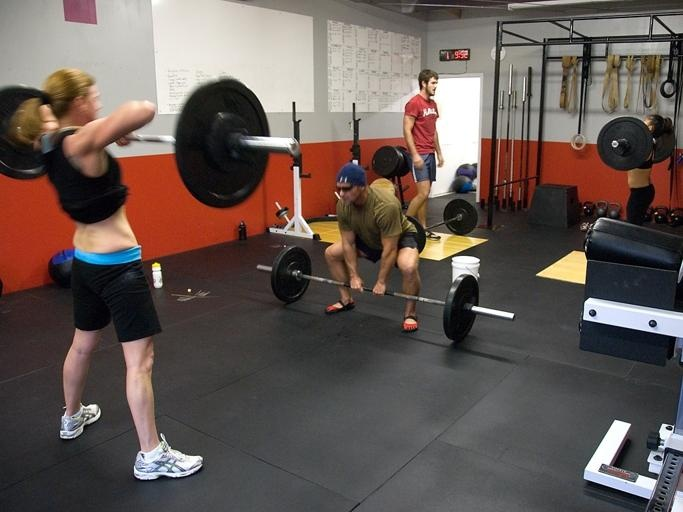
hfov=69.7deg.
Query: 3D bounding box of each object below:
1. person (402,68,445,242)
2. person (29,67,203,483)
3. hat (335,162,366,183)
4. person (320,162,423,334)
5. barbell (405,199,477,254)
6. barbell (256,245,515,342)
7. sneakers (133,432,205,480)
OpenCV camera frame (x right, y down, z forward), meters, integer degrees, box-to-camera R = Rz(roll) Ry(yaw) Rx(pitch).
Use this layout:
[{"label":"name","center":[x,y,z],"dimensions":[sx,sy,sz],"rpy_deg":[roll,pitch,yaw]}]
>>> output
[{"label":"person","center":[0.883,-1.137,5.622],"dimensions":[0.392,1.919,0.574],"rpy_deg":[7,13,38]},{"label":"person","center":[-0.878,0.122,2.063],"dimensions":[0.618,1.737,0.506],"rpy_deg":[1,4,16]},{"label":"hat","center":[0.058,-0.504,3.054],"dimensions":[0.173,0.127,0.154],"rpy_deg":[2,18,2]},{"label":"person","center":[0.213,-0.095,3.405],"dimensions":[0.680,1.116,0.629],"rpy_deg":[3,17,6]},{"label":"barbell","center":[1.351,-0.263,5.982],"dimensions":[0.398,0.443,1.007],"rpy_deg":[-4,-20,2]},{"label":"barbell","center":[0.273,0.456,3.503],"dimensions":[2.026,0.598,0.558],"rpy_deg":[8,17,33]},{"label":"sneakers","center":[-0.714,0.845,2.034],"dimensions":[0.265,0.144,0.096],"rpy_deg":[2,-3,-25]}]
